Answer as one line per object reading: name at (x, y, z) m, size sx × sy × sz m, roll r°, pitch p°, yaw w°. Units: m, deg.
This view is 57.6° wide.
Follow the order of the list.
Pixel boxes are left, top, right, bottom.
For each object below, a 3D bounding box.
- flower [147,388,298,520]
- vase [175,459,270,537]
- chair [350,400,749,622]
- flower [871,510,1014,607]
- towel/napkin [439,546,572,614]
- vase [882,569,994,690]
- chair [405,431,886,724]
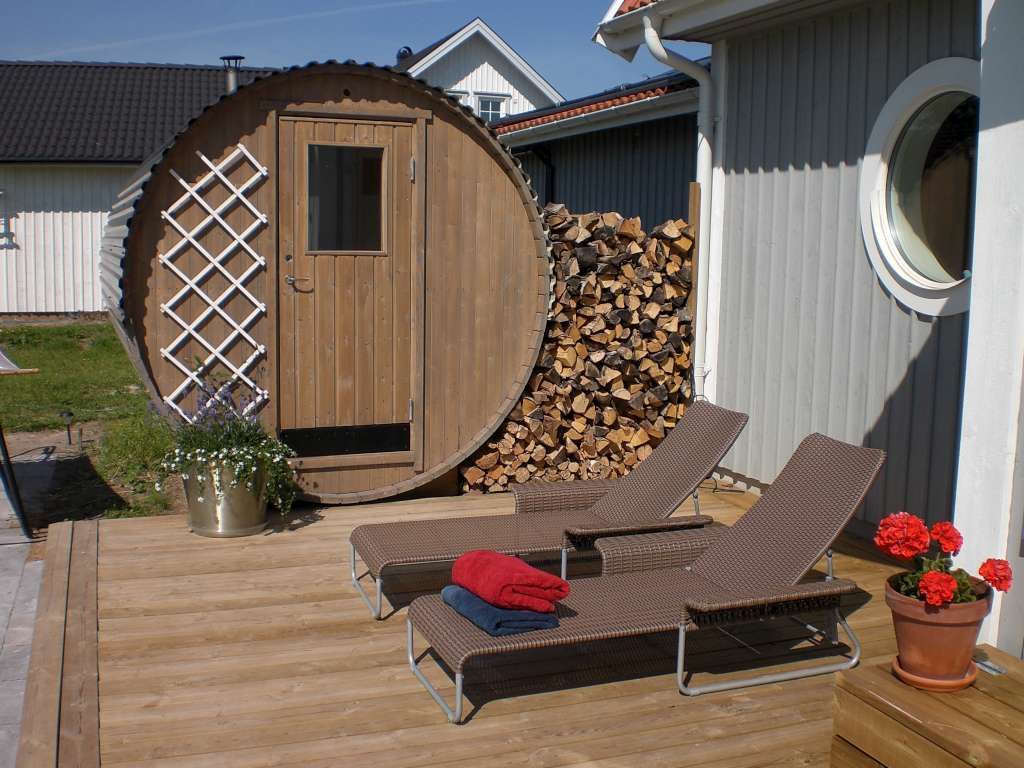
flower at (-2.053, 0.492, 6.715) m, size 0.935 × 0.680 × 0.830 m, roll -6°, pitch 8°, yaw -15°
vase at (-2.000, 0.802, 6.448) m, size 0.487 × 0.420 × 0.545 m, roll -1°, pitch 0°, yaw -4°
chair at (0.339, 0.837, 6.055) m, size 2.677 × 1.185 × 1.164 m, roll -2°, pitch 7°, yaw -20°
flower at (1.930, 0.854, 4.219) m, size 0.537 × 0.473 × 0.327 m, roll 1°, pitch -33°, yaw 3°
towel/napkin at (-0.003, 0.975, 4.725) m, size 0.548 × 0.195 × 0.561 m, roll 3°, pitch 2°, yaw -41°
vase at (1.860, 1.083, 4.103) m, size 0.434 × 0.380 × 0.437 m, roll -2°, pitch 4°, yaw -30°
chair at (0.781, 1.055, 4.982) m, size 2.498 × 1.222 × 1.255 m, roll -2°, pitch 6°, yaw -17°
